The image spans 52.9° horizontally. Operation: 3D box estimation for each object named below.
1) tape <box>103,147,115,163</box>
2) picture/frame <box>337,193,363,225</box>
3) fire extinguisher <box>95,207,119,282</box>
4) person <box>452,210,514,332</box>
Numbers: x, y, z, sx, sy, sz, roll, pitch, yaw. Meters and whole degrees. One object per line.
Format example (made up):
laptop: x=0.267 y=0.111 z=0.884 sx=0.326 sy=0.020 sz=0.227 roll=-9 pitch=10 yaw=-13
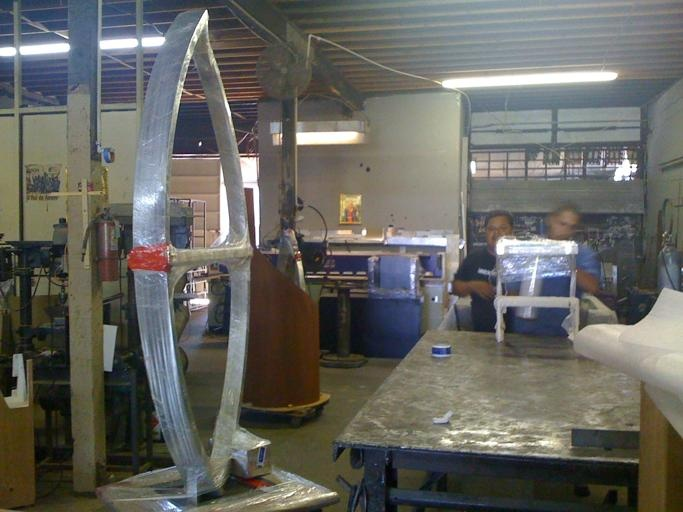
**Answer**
tape: x=-1.546 y=-0.671 z=4.554 sx=0.059 sy=0.094 sz=0.186 roll=-2 pitch=9 yaw=-14
picture/frame: x=0.141 y=-0.703 z=10.116 sx=0.475 sy=0.602 sz=0.049 roll=-1 pitch=-4 yaw=10
fire extinguisher: x=-1.557 y=-0.062 z=4.562 sx=0.138 sy=0.507 sz=0.251 roll=-3 pitch=9 yaw=-20
person: x=1.181 y=0.148 z=5.733 sx=0.416 sy=1.057 sz=0.545 roll=-8 pitch=12 yaw=-42
